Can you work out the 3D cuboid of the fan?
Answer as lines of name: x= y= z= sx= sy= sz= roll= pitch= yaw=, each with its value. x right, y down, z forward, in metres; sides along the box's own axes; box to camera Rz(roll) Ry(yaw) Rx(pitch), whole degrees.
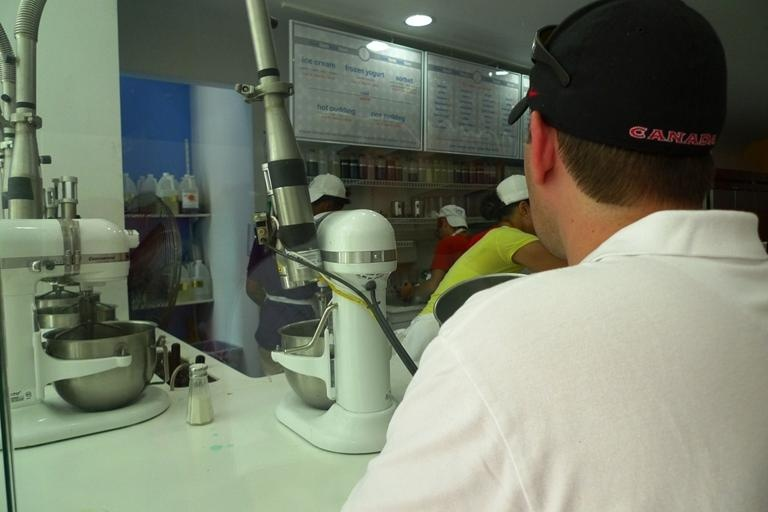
fan: x=-0.815 y=0.028 z=2.717 sx=0.193 sy=0.416 sz=0.456 roll=11 pitch=46 yaw=-8

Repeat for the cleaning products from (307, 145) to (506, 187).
cleaning products: x=0.133 y=-0.474 z=3.725 sx=1.154 sy=0.180 sz=0.085 roll=-3 pitch=7 yaw=-34

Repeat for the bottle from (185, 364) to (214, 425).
bottle: x=-0.489 y=0.352 z=1.863 sx=0.068 sy=0.150 sz=0.149 roll=-5 pitch=6 yaw=-16

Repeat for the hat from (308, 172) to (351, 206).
hat: x=-0.234 y=-0.281 z=2.944 sx=0.178 sy=0.102 sz=0.133 roll=-1 pitch=7 yaw=-39

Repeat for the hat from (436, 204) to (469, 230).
hat: x=0.347 y=-0.198 z=3.590 sx=0.093 sy=0.078 sz=0.150 roll=1 pitch=11 yaw=-15

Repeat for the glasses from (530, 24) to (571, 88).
glasses: x=0.305 y=-0.381 z=1.350 sx=0.042 sy=0.088 sz=0.121 roll=7 pitch=43 yaw=-19
